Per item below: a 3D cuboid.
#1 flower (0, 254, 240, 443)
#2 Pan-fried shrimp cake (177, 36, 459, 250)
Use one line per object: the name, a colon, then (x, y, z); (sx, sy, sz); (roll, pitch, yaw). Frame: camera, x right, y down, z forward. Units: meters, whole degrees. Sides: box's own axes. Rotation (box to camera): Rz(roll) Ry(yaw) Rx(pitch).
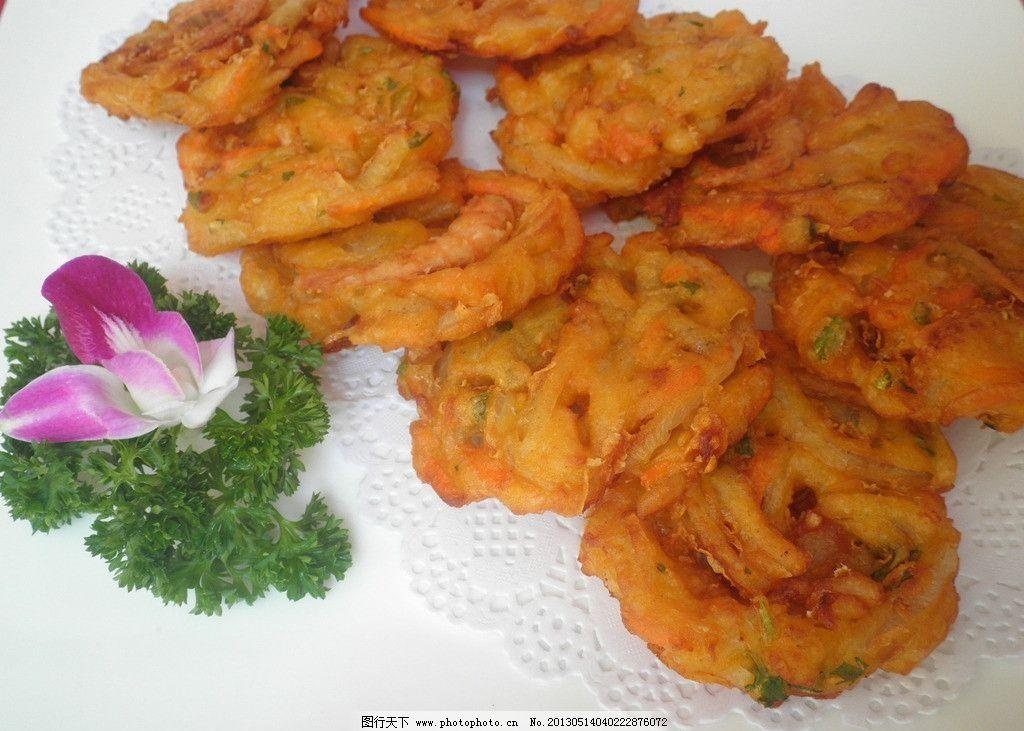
flower: (-1.049, -0.019, 2.772); (0.577, 0.217, 0.541); (-6, 75, 3)
Pan-fried shrimp cake: (-0.529, -0.585, 3.104); (0.710, 0.152, 0.535); (-25, 63, -6)
